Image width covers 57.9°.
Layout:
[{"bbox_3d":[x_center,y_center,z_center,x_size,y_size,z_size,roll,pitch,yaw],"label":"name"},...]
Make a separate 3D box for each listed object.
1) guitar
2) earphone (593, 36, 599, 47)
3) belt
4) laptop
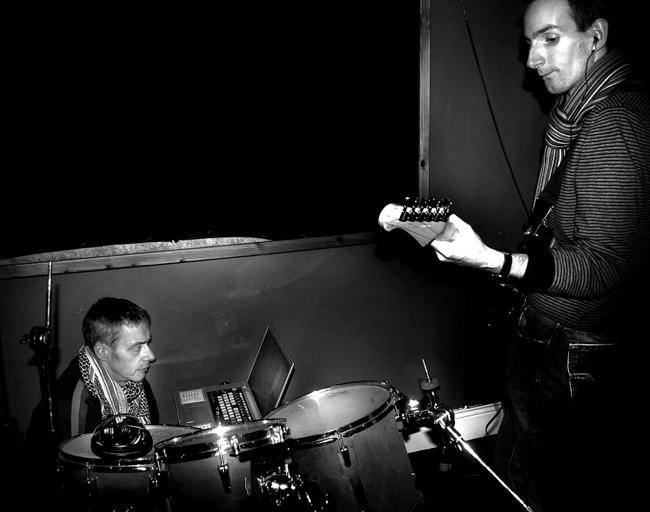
[{"bbox_3d":[0.479,0.001,2.138,0.496,0.148,0.264,33,34,-16],"label":"guitar"},{"bbox_3d":[1.022,-0.812,2.217,0.008,0.032,0.021,-20,40,-36],"label":"earphone"},{"bbox_3d":[0.841,0.278,2.209,0.211,0.061,0.139,35,15,30],"label":"belt"},{"bbox_3d":[-0.378,0.455,2.467,0.408,0.282,0.399,0,23,-16],"label":"laptop"}]
